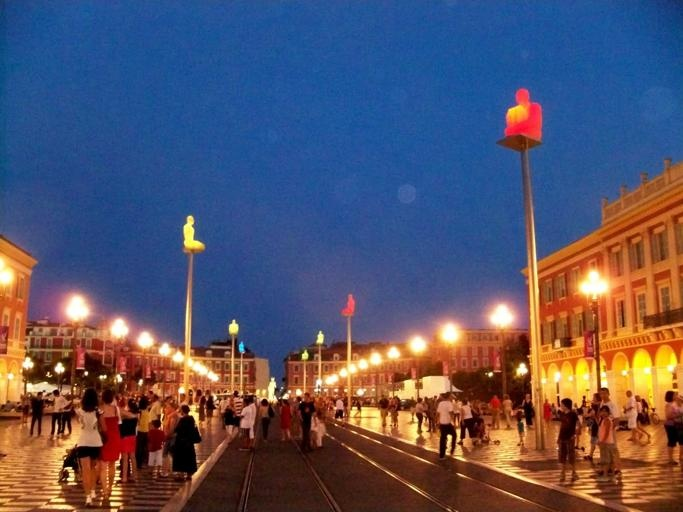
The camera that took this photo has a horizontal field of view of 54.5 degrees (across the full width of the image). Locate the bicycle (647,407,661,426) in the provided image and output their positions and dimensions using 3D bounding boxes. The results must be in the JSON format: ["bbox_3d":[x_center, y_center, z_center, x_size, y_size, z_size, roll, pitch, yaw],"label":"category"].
[{"bbox_3d":[19.153,9.901,40.703,1.085,0.767,0.609,-14,-9,13],"label":"bicycle"}]

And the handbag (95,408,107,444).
[{"bbox_3d":[-5.418,3.843,14.956,0.174,0.788,0.271,-2,-3,-40],"label":"handbag"}]
